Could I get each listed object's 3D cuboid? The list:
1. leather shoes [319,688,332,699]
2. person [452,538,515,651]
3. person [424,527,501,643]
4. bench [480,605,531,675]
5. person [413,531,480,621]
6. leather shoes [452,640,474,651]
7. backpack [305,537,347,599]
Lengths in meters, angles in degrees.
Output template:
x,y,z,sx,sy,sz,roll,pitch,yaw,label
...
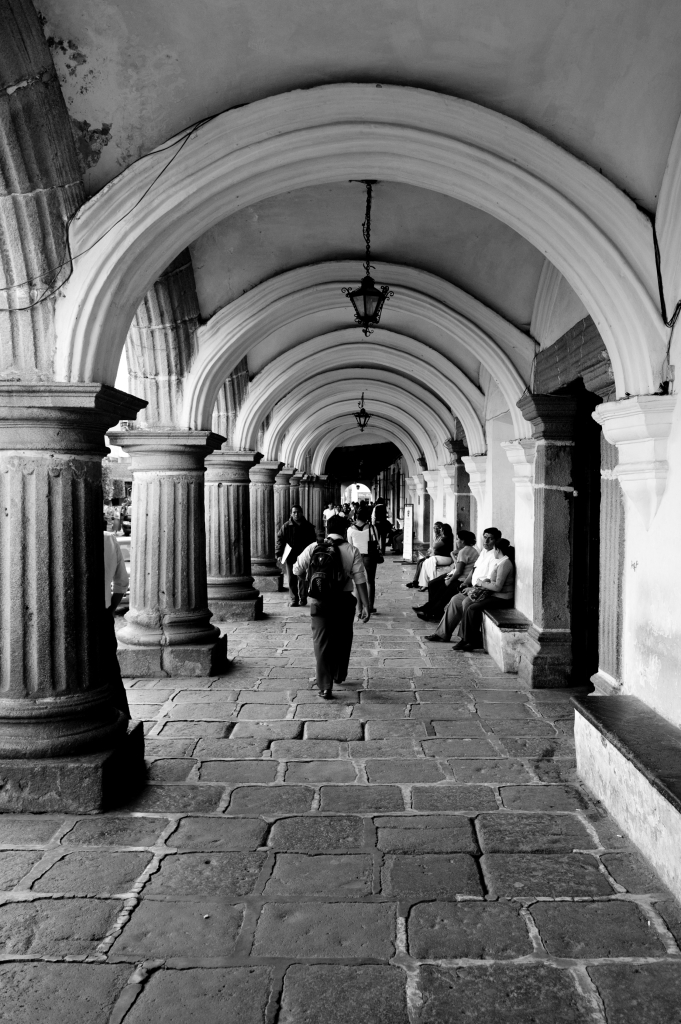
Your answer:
x,y,z,sx,sy,sz,roll,pitch,yaw,label
-0.109,1.294,5.331,0.095,0.068,0.182,0,-1,-3,leather shoes
1.390,0.784,7.447,0.538,1.136,0.399,-3,14,-9,person
1.223,0.782,7.836,0.631,1.117,0.359,-18,-22,39,person
1.456,1.143,6.560,0.381,0.404,1.235,0,-1,11,bench
1.255,0.746,9.005,0.618,1.165,0.423,8,8,5,person
1.192,1.311,7.305,0.211,0.086,0.205,0,-1,19,leather shoes
-0.115,0.421,5.434,0.276,0.438,0.222,4,7,19,backpack
